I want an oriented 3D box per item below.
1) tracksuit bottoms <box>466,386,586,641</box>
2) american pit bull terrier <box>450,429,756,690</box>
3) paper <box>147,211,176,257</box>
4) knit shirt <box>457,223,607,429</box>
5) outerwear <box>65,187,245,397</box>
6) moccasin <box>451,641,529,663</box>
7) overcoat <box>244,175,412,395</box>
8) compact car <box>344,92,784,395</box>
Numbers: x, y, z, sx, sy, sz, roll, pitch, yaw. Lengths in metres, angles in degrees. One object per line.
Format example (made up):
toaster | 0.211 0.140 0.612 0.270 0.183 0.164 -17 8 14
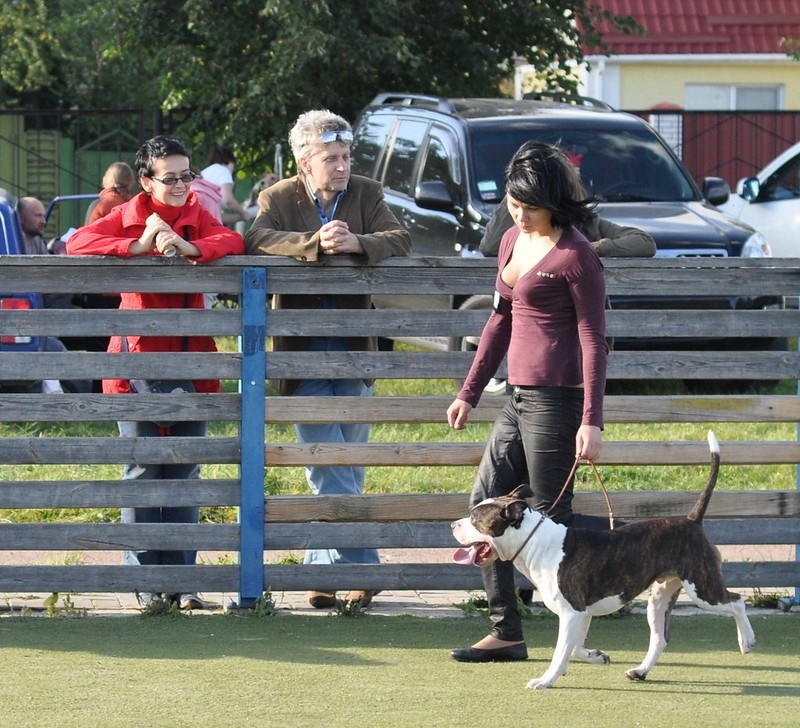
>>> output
tracksuit bottoms | 0.633 0.960 20.045 0.826 1.623 1.072 13 18 37
american pit bull terrier | 1.452 1.402 19.964 2.169 1.853 0.607 -1 3 -10
paper | -1.741 -0.929 20.618 0.112 0.351 0.105 -19 -38 -4
knit shirt | 1.000 -0.244 19.774 0.871 1.402 0.836 9 15 29
outerwear | -1.776 -0.514 20.842 1.295 1.491 0.537 -2 1 -4
moccasin | 0.664 2.084 20.115 0.521 0.206 0.199 3 -9 -2
overcoat | -0.494 -0.630 21.027 1.137 1.671 0.859 -3 -2 1
compact car | 1.132 -1.163 24.828 2.022 1.808 3.762 -3 7 -36
